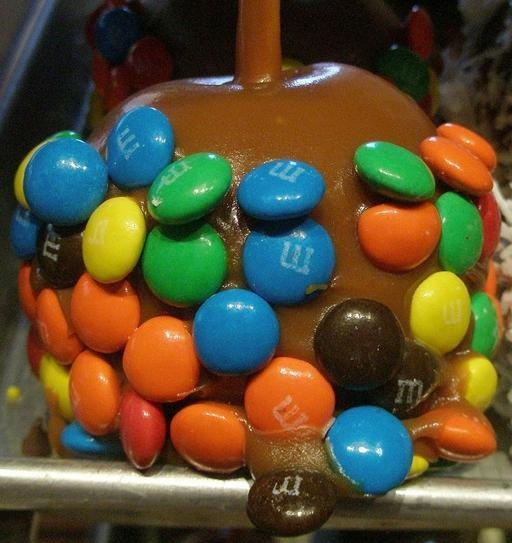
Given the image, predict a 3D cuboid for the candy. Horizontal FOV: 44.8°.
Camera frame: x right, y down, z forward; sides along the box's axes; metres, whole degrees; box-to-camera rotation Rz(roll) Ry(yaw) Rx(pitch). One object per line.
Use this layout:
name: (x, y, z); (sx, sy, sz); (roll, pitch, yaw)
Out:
candy: (0.000, 0.028, 0.761); (0.510, 0.529, 0.472); (-5, 9, -42)
